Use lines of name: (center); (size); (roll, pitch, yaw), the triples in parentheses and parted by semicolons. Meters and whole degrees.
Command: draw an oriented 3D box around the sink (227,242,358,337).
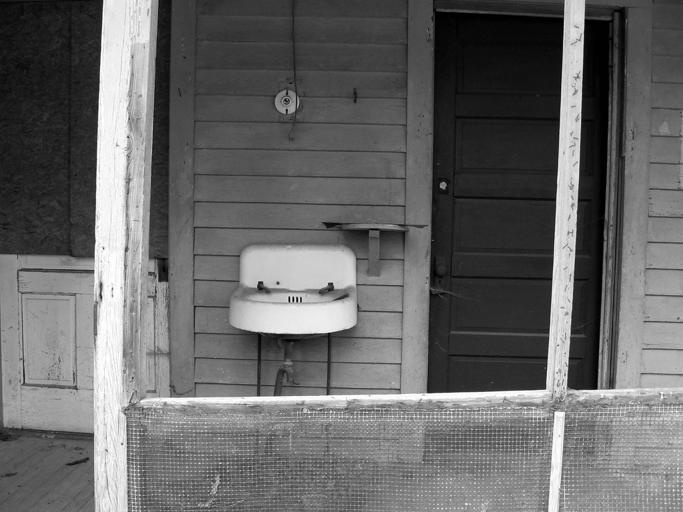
sink: (-0.264, 0.176, 9.071); (0.714, 0.495, 0.662); (3, 7, -3)
